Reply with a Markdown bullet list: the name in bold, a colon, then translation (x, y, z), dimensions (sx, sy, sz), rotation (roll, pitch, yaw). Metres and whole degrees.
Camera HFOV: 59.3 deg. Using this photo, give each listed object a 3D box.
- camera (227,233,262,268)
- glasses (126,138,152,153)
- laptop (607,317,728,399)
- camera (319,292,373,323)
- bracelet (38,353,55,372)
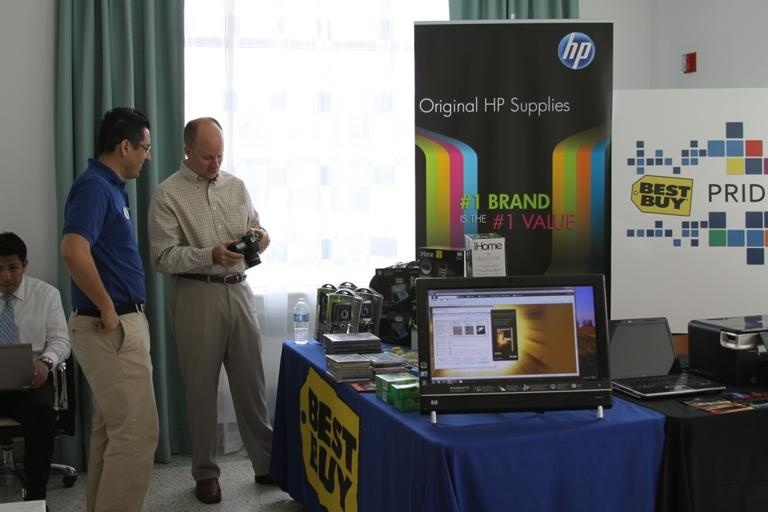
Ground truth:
- **camera**: translation (-0.813, -0.057, 3.924), dimensions (0.184, 0.196, 0.107), rotation (-21, 15, -22)
- **glasses**: translation (-1.330, -0.599, 3.620), dimensions (0.117, 0.039, 0.120), rotation (3, 3, 23)
- **laptop**: translation (1.319, 0.501, 3.226), dimensions (0.395, 0.261, 0.400), rotation (-2, 4, -18)
- **camera**: translation (-0.203, 0.290, 3.802), dimensions (0.187, 0.127, 0.191), rotation (1, 0, -10)
- **bracelet**: translation (-2.049, 0.650, 4.060), dimensions (0.074, 0.090, 0.086), rotation (0, 4, -5)
